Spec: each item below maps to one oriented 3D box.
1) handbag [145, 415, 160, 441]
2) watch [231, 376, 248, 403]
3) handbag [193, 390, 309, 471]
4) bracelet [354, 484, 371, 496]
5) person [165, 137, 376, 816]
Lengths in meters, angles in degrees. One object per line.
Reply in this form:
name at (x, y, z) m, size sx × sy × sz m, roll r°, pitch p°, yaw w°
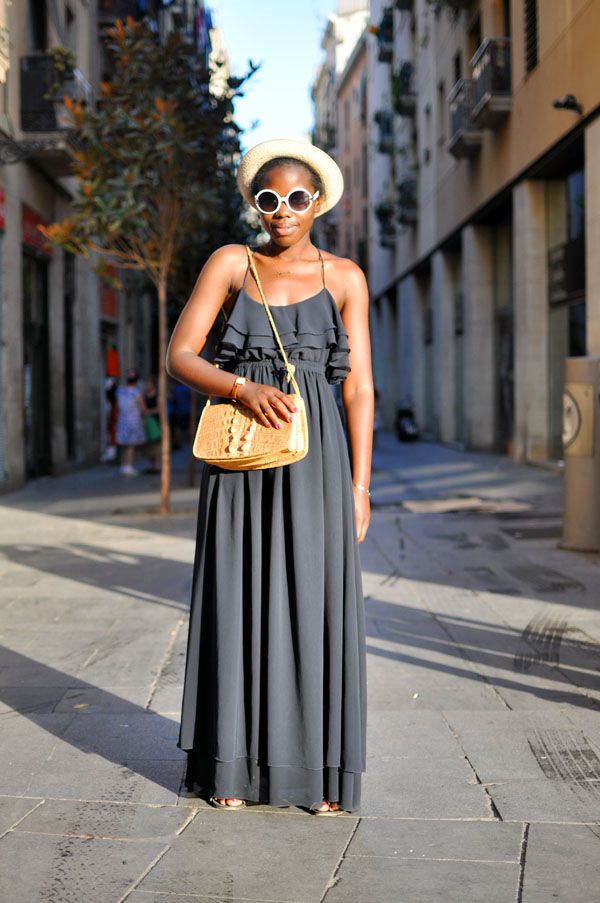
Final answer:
handbag at (-2.239, -0.310, 17.659) m, size 0.221 × 0.415 × 0.356 m, roll 1°, pitch 2°, yaw -4°
watch at (-0.174, -0.172, 3.257) m, size 0.038 × 0.066 × 0.062 m, roll 24°, pitch 1°, yaw 22°
handbag at (-0.125, -0.053, 3.256) m, size 0.196 × 0.205 × 0.087 m, roll 1°, pitch -30°, yaw 21°
bracelet at (0.188, 0.123, 3.533) m, size 0.040 × 0.017 × 0.035 m, roll 44°, pitch 5°, yaw 24°
person at (-0.091, 0.074, 3.434) m, size 0.605 × 1.974 × 0.467 m, roll 1°, pitch 2°, yaw 2°
